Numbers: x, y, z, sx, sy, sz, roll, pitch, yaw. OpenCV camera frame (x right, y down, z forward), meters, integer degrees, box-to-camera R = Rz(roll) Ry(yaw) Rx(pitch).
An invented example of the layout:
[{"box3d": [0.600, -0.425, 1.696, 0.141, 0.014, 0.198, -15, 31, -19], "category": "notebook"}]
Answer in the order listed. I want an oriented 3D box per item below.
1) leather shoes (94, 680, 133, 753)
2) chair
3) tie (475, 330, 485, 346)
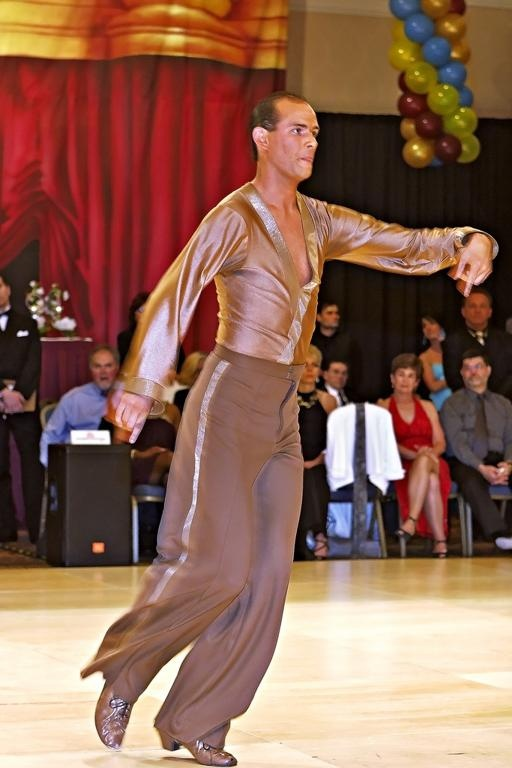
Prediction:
[{"box3d": [-0.283, 0.678, 1.757, 0.058, 0.151, 0.068, 7, -6, -42], "category": "leather shoes"}, {"box3d": [-0.549, 0.841, 6.296, 2.278, 1.304, 0.955, -3, -14, -4], "category": "chair"}, {"box3d": [1.901, -0.400, 7.238, 0.119, 0.106, 0.027, 1, -24, -40], "category": "tie"}]
